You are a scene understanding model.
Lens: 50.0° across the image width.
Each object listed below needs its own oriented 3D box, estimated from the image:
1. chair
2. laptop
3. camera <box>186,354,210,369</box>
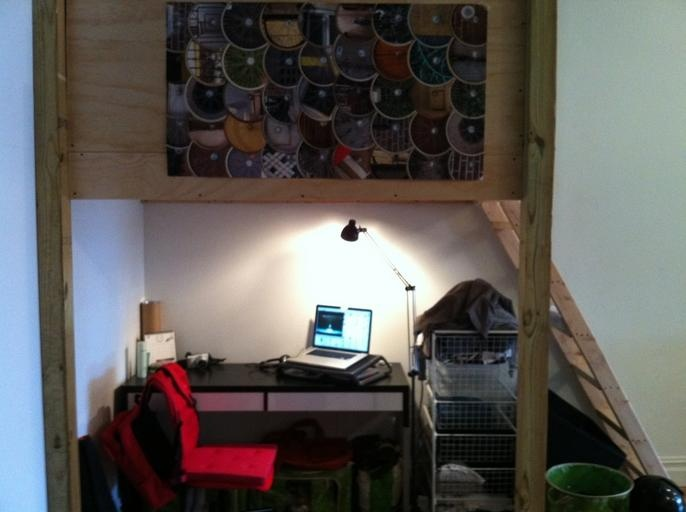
[{"bbox_3d":[-0.761,1.068,4.761,0.761,1.087,0.775,-1,-1,-2],"label":"chair"},{"bbox_3d":[-0.064,0.559,5.018,0.405,0.332,0.433,2,5,22],"label":"laptop"},{"bbox_3d":[-1.019,0.739,5.152,0.177,0.084,0.067,-2,1,-31],"label":"camera"}]
